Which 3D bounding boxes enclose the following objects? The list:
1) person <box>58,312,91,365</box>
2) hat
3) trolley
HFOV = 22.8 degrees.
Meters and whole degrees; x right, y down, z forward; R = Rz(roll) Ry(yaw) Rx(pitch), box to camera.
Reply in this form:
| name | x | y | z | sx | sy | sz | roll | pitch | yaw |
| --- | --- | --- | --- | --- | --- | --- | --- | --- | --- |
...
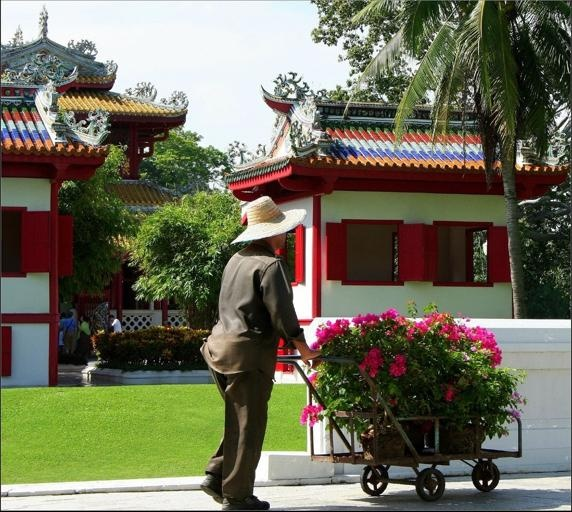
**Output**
| name | x | y | z | sx | sy | sz | roll | pitch | yaw |
| --- | --- | --- | --- | --- | --- | --- | --- | --- | --- |
| person | -4.959 | 1.928 | 33.106 | 0.741 | 1.439 | 3.729 | -1 | -7 | -8 |
| hat | -0.216 | -0.465 | 17.078 | 0.952 | 0.448 | 1.125 | -17 | 6 | 2 |
| trolley | 1.452 | 2.032 | 17.913 | 2.849 | 2.120 | 1.529 | -1 | -1 | -26 |
